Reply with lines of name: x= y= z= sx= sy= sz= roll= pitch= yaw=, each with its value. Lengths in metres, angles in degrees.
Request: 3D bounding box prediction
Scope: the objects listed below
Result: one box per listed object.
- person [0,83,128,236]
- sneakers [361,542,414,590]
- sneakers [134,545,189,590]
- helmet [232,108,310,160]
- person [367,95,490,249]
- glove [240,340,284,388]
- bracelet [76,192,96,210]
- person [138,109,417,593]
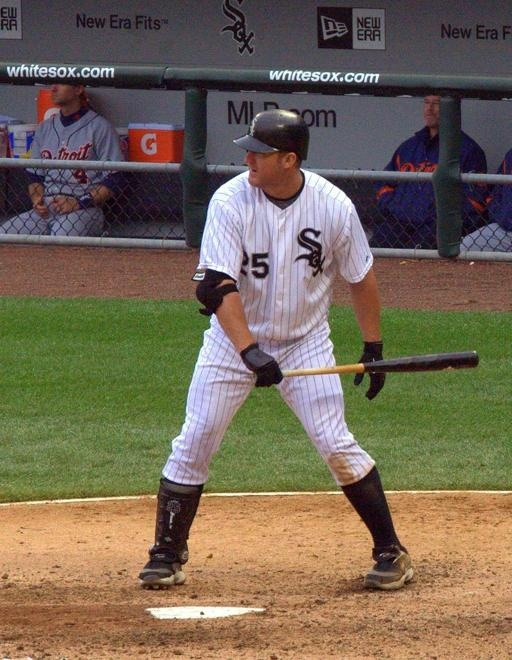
person: x=-1.212 y=-1.090 z=6.387 sx=0.734 sy=1.060 sz=1.147 roll=-1 pitch=3 yaw=-7
sneakers: x=0.407 y=0.715 z=3.108 sx=0.120 sy=0.116 sz=0.269 roll=2 pitch=2 yaw=26
sneakers: x=-0.285 y=0.729 z=3.071 sx=0.081 sy=0.083 sz=0.187 roll=0 pitch=-14 yaw=11
helmet: x=0.039 y=-0.581 z=2.987 sx=0.273 sy=0.123 sz=0.183 roll=1 pitch=14 yaw=-21
person: x=1.049 y=-0.838 z=5.982 sx=0.674 sy=0.271 sz=0.815 roll=3 pitch=-29 yaw=15
glove: x=0.017 y=0.102 z=2.875 sx=0.110 sy=0.131 sz=0.063 roll=-38 pitch=-17 yaw=-31
bracelet: x=-0.998 y=-0.758 z=5.975 sx=0.087 sy=0.084 sz=0.097 roll=-11 pitch=-42 yaw=-3
person: x=0.068 y=0.062 z=3.011 sx=0.847 sy=1.458 sz=0.397 roll=-1 pitch=4 yaw=-7
